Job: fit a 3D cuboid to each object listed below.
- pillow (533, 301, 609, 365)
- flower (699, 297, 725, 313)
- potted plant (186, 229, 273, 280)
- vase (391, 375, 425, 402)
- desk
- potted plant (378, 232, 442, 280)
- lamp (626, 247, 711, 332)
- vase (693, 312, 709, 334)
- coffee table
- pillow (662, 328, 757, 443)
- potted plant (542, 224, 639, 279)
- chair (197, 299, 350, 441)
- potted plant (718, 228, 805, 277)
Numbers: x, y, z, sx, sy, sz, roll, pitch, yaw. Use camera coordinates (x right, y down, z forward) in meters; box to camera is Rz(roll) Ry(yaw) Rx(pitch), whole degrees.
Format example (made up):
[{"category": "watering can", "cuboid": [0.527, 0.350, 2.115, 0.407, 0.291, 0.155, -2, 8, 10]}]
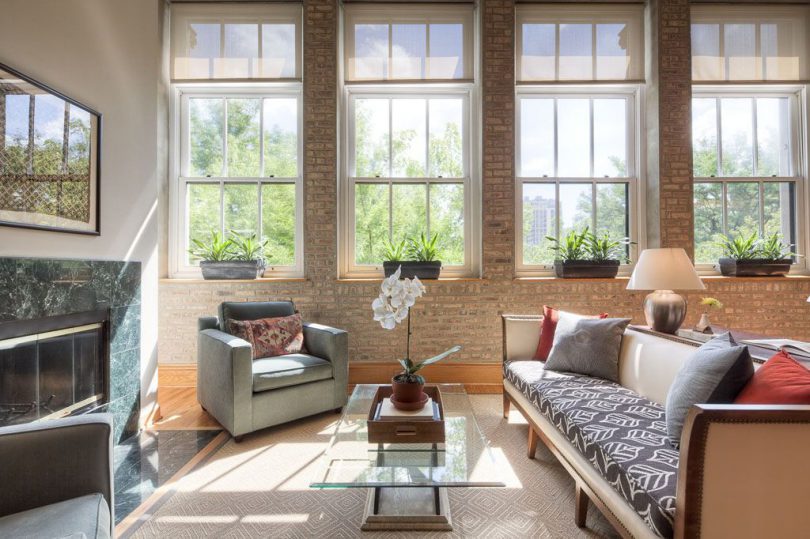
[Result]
[{"category": "pillow", "cuboid": [1.426, 0.589, 5.362, 0.513, 0.505, 0.206, 1, -13, 42]}, {"category": "flower", "cuboid": [2.895, 0.329, 5.514, 0.160, 0.169, 0.171, -3, 5, 8]}, {"category": "potted plant", "cuboid": [-1.817, -0.161, 6.183, 0.763, 0.493, 0.369, -1, 5, -8]}, {"category": "vase", "cuboid": [0.016, 0.872, 4.279, 0.197, 0.142, 0.196, 0, -1, 12]}, {"category": "desk", "cuboid": [2.121, 0.681, 4.635, 0.603, 0.289, 0.596, -19, 5, -16]}, {"category": "potted plant", "cuboid": [0.066, -0.063, 6.231, 0.608, 0.518, 0.503, 0, -7, -2]}, {"category": "lamp", "cuboid": [2.206, 0.172, 5.135, 0.687, 0.752, 0.686, -2, -1, 11]}, {"category": "vase", "cuboid": [2.472, 0.455, 4.945, 0.172, 0.190, 0.178, 2, 1, 24]}, {"category": "coffee table", "cuboid": [0.017, 1.352, 4.186, 0.971, 0.403, 1.300, 0, 1, -2]}, {"category": "pillow", "cuboid": [2.053, 0.806, 3.950, 0.323, 0.582, 0.487, 31, -38, -26]}, {"category": "potted plant", "cuboid": [1.944, -0.134, 6.147, 0.879, 0.554, 0.581, 0, -5, -1]}, {"category": "chair", "cuboid": [-1.267, 0.854, 5.525, 1.209, 1.063, 1.092, -3, 6, -31]}, {"category": "potted plant", "cuboid": [3.769, -0.174, 6.207, 0.868, 0.469, 0.330, 0, 5, -4]}]
